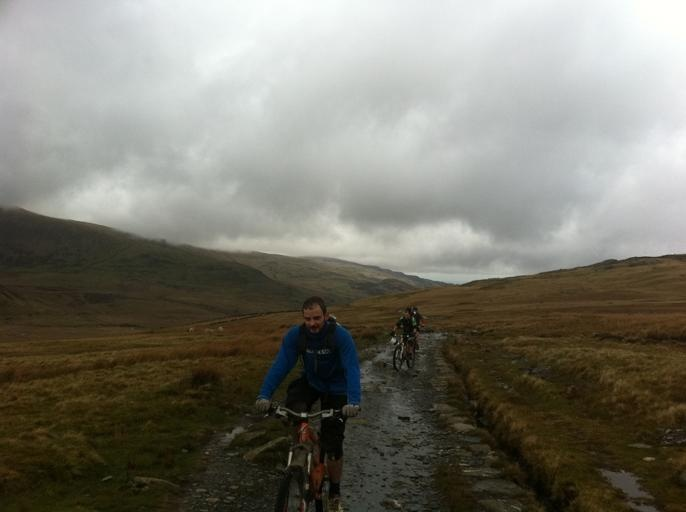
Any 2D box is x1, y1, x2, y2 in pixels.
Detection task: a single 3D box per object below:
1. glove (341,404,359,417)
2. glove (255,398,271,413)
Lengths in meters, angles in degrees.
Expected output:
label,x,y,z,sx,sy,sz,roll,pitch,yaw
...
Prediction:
label,x,y,z,sx,sy,sz,roll,pitch,yaw
glove,0.196,4.055,11.547,0.516,0.331,0.275,-3,-6,31
glove,-2.255,4.007,11.838,0.468,0.237,0.367,9,10,36
